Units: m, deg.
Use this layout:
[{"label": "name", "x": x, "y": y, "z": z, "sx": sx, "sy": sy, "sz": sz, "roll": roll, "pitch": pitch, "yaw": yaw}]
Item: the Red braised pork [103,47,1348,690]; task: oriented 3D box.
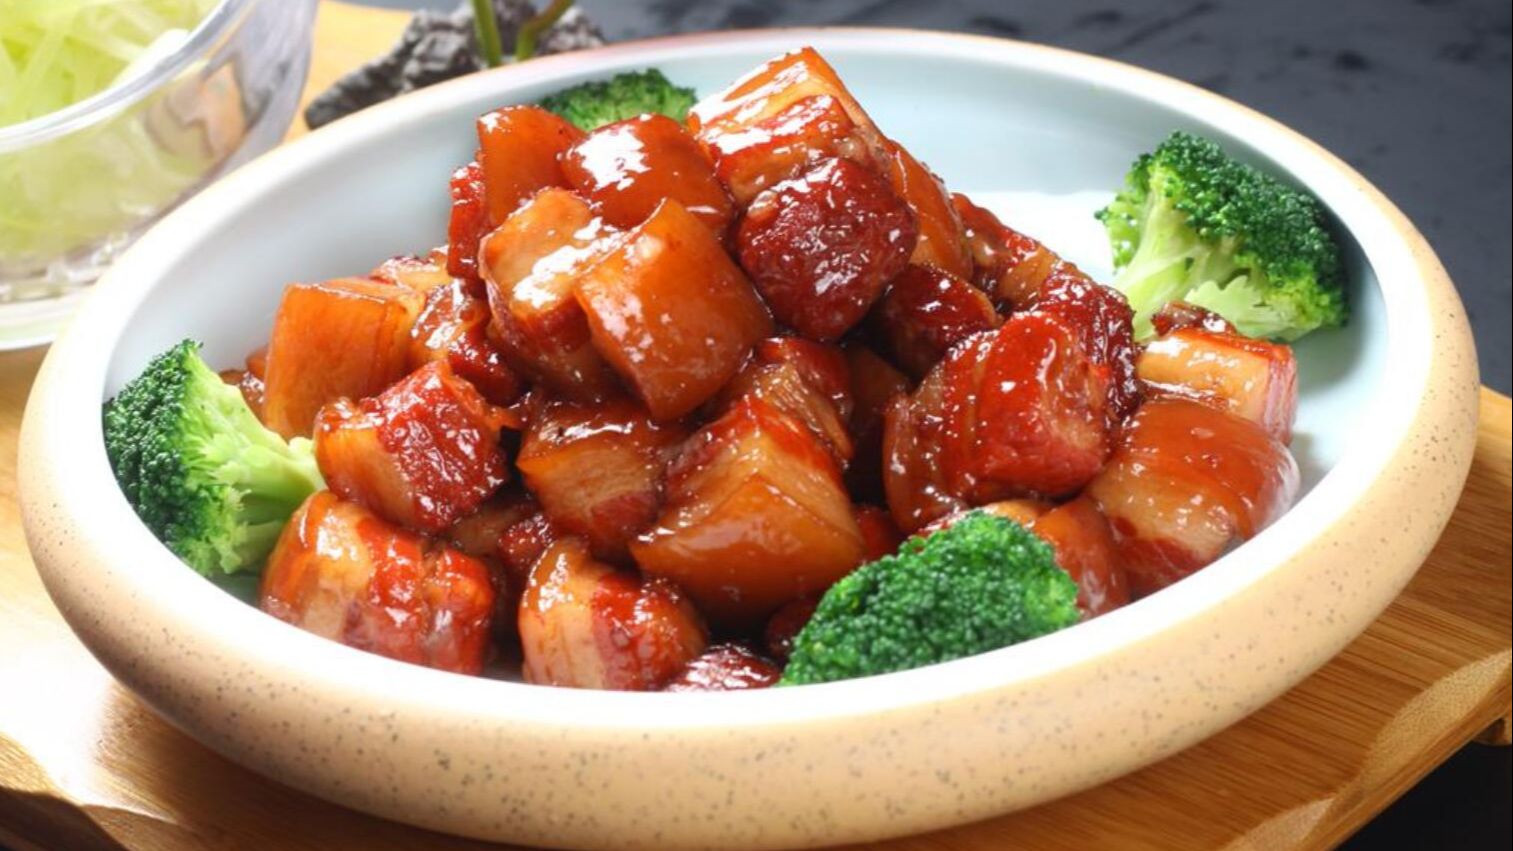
[{"label": "Red braised pork", "x": -0.116, "y": -0.335, "z": 2.623, "sx": 1.855, "sy": 0.603, "sz": 1.731, "roll": -4, "pitch": 54, "yaw": 12}]

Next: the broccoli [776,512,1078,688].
[{"label": "broccoli", "x": 0.282, "y": 0.316, "z": 2.165, "sx": 0.528, "sy": 0.097, "sz": 0.222, "roll": -16, "pitch": 62, "yaw": -6}]
